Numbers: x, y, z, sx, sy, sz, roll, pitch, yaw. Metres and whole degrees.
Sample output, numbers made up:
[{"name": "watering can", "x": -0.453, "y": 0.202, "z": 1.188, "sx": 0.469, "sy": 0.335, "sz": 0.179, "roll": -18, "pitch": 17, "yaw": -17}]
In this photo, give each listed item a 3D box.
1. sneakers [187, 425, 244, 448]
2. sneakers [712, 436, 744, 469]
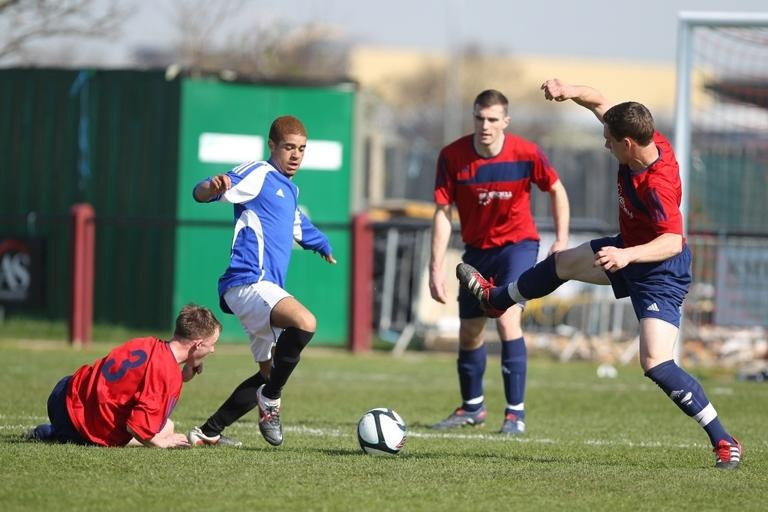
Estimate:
[{"name": "sneakers", "x": -1.860, "y": 1.950, "z": 16.035, "sx": 0.620, "sy": 0.253, "sz": 0.231, "roll": 4, "pitch": -1, "yaw": -11}, {"name": "sneakers", "x": 3.712, "y": 2.119, "z": 15.790, "sx": 0.345, "sy": 0.309, "sz": 0.221, "roll": 2, "pitch": -1, "yaw": -9}]
